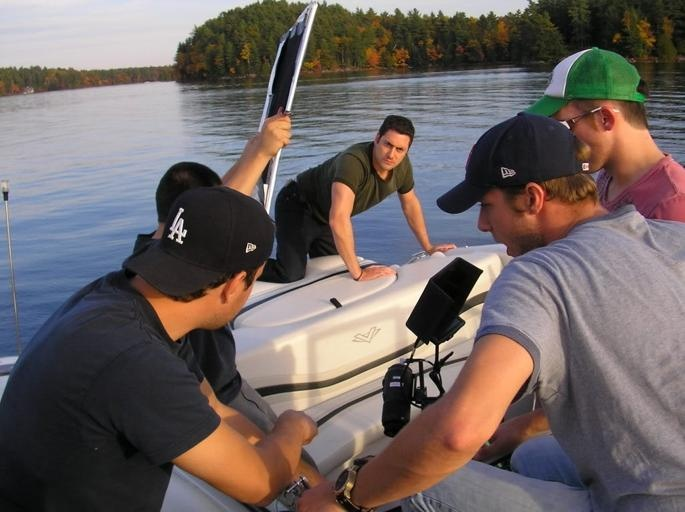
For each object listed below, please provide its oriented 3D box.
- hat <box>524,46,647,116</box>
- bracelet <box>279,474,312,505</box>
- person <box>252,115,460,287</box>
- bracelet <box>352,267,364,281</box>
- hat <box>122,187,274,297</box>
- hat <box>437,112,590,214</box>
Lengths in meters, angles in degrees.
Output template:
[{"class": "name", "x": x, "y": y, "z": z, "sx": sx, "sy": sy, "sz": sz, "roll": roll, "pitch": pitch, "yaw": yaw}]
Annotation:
[{"class": "hat", "x": 1.045, "y": -0.754, "z": 3.127, "sx": 0.550, "sy": 0.296, "sz": 0.384, "roll": -3, "pitch": 7, "yaw": 9}, {"class": "bracelet", "x": -0.168, "y": 0.818, "z": 2.496, "sx": 0.087, "sy": 0.031, "sz": 0.063, "roll": -36, "pitch": -2, "yaw": -12}, {"class": "person", "x": 0.064, "y": -0.322, "z": 5.308, "sx": 1.092, "sy": 1.359, "sz": 1.862, "roll": -8, "pitch": 13, "yaw": -41}, {"class": "bracelet", "x": 0.092, "y": 0.104, "z": 4.170, "sx": 0.050, "sy": 0.069, "sz": 0.027, "roll": 27, "pitch": 26, "yaw": 24}, {"class": "hat", "x": -0.462, "y": -0.093, "z": 2.351, "sx": 0.596, "sy": 0.292, "sz": 0.384, "roll": -13, "pitch": 23, "yaw": -41}, {"class": "hat", "x": 0.558, "y": -0.314, "z": 2.332, "sx": 0.406, "sy": 0.237, "sz": 0.273, "roll": -15, "pitch": 13, "yaw": 17}]
